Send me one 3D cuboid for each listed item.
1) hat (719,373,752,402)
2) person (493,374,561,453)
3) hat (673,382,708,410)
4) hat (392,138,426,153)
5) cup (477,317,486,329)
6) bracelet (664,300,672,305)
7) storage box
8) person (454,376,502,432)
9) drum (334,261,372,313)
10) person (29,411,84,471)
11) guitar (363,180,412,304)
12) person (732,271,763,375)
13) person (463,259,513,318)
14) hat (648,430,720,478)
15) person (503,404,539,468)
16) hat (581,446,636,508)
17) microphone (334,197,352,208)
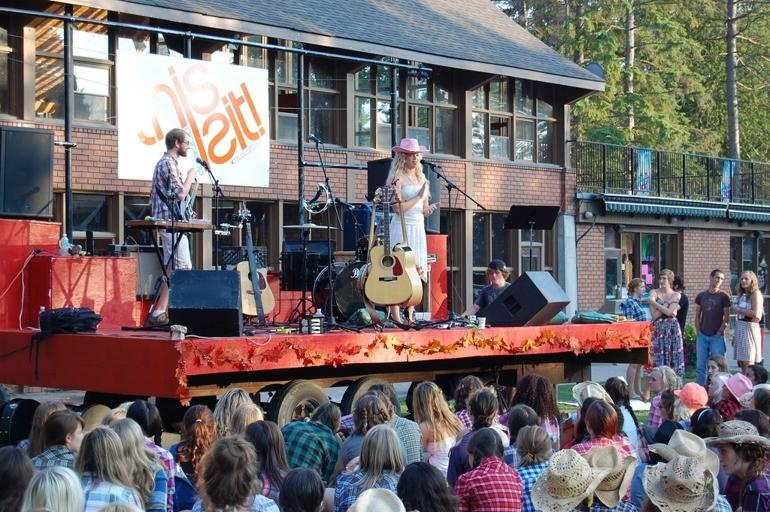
[{"bbox_3d":[5.095,1.895,20.700,0.372,0.134,0.352,33,24,-35],"label":"hat"},{"bbox_3d":[2.166,2.272,20.560,0.573,1.103,0.666,1,-17,-23],"label":"person"},{"bbox_3d":[4.442,1.985,20.784,0.451,0.257,0.325,30,50,31],"label":"hat"},{"bbox_3d":[0.351,-1.720,22.711,0.350,0.178,0.418,1,-5,-14],"label":"hat"},{"bbox_3d":[1.515,1.046,22.497,0.148,0.173,0.105,-2,-3,34],"label":"cup"},{"bbox_3d":[5.102,0.826,25.617,0.123,0.069,0.034,1,-1,43],"label":"bracelet"},{"bbox_3d":[-4.837,0.310,22.732,1.729,1.413,0.925,3,-3,-44],"label":"storage box"},{"bbox_3d":[1.185,2.082,20.687,0.279,0.824,0.538,2,-4,41],"label":"person"},{"bbox_3d":[-0.595,0.524,22.846,0.609,0.762,0.652,3,0,0],"label":"drum"},{"bbox_3d":[-4.322,2.541,19.139,0.559,0.980,0.875,4,5,-23],"label":"person"},{"bbox_3d":[0.034,-0.234,22.285,0.766,1.349,0.659,1,-1,6],"label":"guitar"},{"bbox_3d":[6.496,1.164,25.497,0.473,1.794,0.554,1,-1,12],"label":"person"},{"bbox_3d":[1.713,0.506,23.877,0.654,0.912,1.526,1,-1,4],"label":"person"},{"bbox_3d":[4.007,2.615,18.808,0.644,0.277,0.581,30,-13,-5],"label":"hat"},{"bbox_3d":[1.850,2.445,19.278,0.597,0.990,0.441,1,4,0],"label":"person"},{"bbox_3d":[2.929,2.880,18.566,0.555,0.316,0.791,7,48,40],"label":"hat"},{"bbox_3d":[-0.761,-0.957,25.842,0.257,0.208,0.688,-1,4,-11],"label":"microphone"}]
